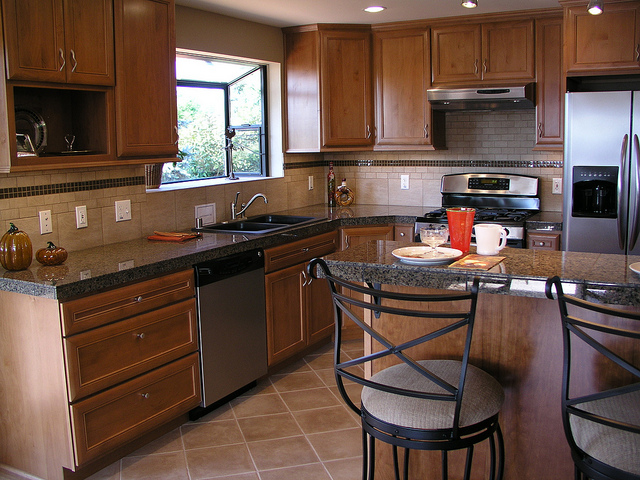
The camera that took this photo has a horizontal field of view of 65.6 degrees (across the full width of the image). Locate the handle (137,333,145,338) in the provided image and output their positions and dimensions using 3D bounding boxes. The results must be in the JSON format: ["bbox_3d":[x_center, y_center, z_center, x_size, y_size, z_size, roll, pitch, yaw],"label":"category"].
[{"bbox_3d":[-0.956,0.513,2.658,0.021,0.018,0.021,1,4,17],"label":"handle"}]

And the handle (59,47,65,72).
[{"bbox_3d":[-1.366,-0.949,2.614,0.011,0.125,0.034,2,12,17],"label":"handle"}]

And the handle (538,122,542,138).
[{"bbox_3d":[1.822,-0.908,4.102,0.031,0.121,0.014,0,12,7],"label":"handle"}]

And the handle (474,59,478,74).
[{"bbox_3d":[1.320,-1.463,4.192,0.012,0.107,0.026,-10,14,-34],"label":"handle"}]

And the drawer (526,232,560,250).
[{"bbox_3d":[1.741,0.012,3.881,0.181,0.180,0.139,0,0,30],"label":"drawer"}]

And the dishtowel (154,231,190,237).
[{"bbox_3d":[-0.987,-0.038,3.318,0.139,0.016,0.214,-12,16,-41],"label":"dishtowel"}]

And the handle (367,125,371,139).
[{"bbox_3d":[0.448,-1.000,4.550,0.029,0.108,0.019,-4,11,5],"label":"handle"}]

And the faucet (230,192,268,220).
[{"bbox_3d":[-0.558,-0.280,4.033,0.277,0.225,0.448,-9,14,-32],"label":"faucet"}]

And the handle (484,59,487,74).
[{"bbox_3d":[1.391,-1.451,4.162,0.013,0.112,0.026,-11,15,-38],"label":"handle"}]

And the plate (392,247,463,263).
[{"bbox_3d":[0.460,0.058,2.113,0.269,0.027,0.269,4,13,23],"label":"plate"}]

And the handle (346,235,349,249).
[{"bbox_3d":[0.231,0.005,4.168,0.020,0.095,0.013,0,12,8],"label":"handle"}]

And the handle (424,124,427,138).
[{"bbox_3d":[0.940,-0.964,4.409,0.024,0.094,0.019,0,3,-25],"label":"handle"}]

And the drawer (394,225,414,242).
[{"bbox_3d":[0.727,-0.059,4.297,0.187,0.180,0.128,3,6,28],"label":"drawer"}]

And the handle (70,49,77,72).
[{"bbox_3d":[-1.328,-0.965,2.674,0.010,0.117,0.034,4,13,23],"label":"handle"}]

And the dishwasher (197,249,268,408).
[{"bbox_3d":[-0.639,0.560,3.318,0.420,0.881,0.417,20,18,37],"label":"dishwasher"}]

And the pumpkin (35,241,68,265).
[{"bbox_3d":[-1.447,0.062,2.666,0.130,0.120,0.128,-2,3,-42],"label":"pumpkin"}]

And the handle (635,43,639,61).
[{"bbox_3d":[2.295,-1.358,3.587,0.026,0.121,0.011,0,12,7],"label":"handle"}]

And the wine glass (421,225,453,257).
[{"bbox_3d":[0.500,0.001,2.163,0.136,0.132,0.142,0,4,1],"label":"wine glass"}]

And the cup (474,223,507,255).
[{"bbox_3d":[0.750,0.007,2.129,0.106,0.122,0.162,-2,5,-11],"label":"cup"}]

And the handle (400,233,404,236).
[{"bbox_3d":[0.710,-0.051,4.305,0.029,0.028,0.032,0,-5,11],"label":"handle"}]

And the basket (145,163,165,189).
[{"bbox_3d":[-1.213,-0.467,3.605,0.173,0.176,0.175,2,6,15],"label":"basket"}]

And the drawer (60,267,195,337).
[{"bbox_3d":[-0.981,0.310,2.638,0.031,0.175,0.780,8,15,37],"label":"drawer"}]

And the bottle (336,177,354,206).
[{"bbox_3d":[0.240,-0.471,4.907,0.163,0.256,0.145,-1,12,2],"label":"bottle"}]

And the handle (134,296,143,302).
[{"bbox_3d":[-0.969,0.312,2.633,0.021,0.030,0.009,-3,20,-24],"label":"handle"}]

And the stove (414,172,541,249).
[{"bbox_3d":[1.411,-0.103,4.399,0.980,0.938,0.684,5,13,36],"label":"stove"}]
